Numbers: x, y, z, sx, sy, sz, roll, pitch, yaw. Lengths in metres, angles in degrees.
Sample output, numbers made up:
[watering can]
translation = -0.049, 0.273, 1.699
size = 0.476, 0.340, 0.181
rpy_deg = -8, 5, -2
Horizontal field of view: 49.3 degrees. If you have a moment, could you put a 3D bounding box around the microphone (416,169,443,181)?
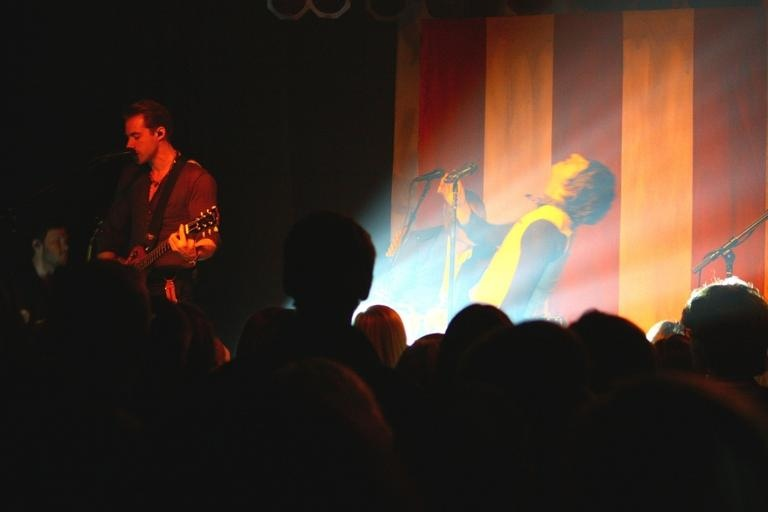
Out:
[microphone]
translation = 0.533, -0.950, 9.844
size = 0.350, 0.127, 0.098
rpy_deg = -17, 3, 41
